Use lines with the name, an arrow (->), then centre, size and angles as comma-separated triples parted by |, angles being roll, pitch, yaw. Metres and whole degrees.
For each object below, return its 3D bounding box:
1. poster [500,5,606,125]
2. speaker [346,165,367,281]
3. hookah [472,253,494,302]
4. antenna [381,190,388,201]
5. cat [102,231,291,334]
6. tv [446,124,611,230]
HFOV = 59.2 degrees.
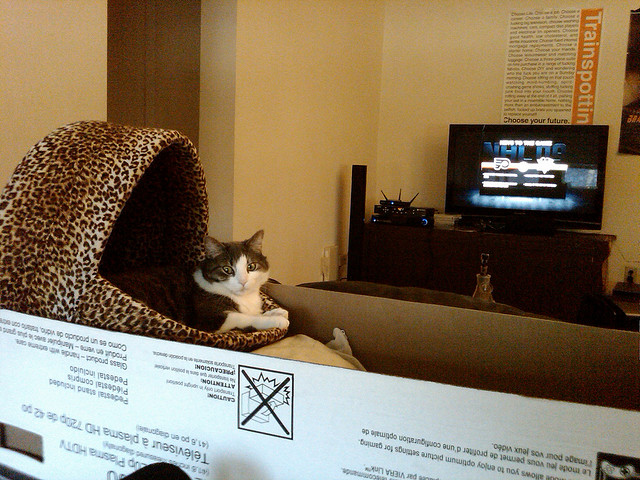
poster -> 1.497, -1.131, 3.564 | 0.716, 0.988, 0.039 | 6, 4, 26
speaker -> 0.236, -0.114, 3.618 | 0.113, 0.658, 0.170 | 5, 2, 6
hookah -> 0.527, 0.130, 1.822 | 0.081, 0.174, 0.081 | 4, -9, 2
antenna -> 0.481, -0.348, 4.206 | 0.011, 0.101, 0.012 | -16, -19, -11
cat -> -0.263, 0.082, 1.258 | 0.354, 0.179, 0.473 | 5, 1, -15
tv -> 1.334, -0.409, 3.515 | 0.635, 0.472, 0.069 | 5, 5, 21
